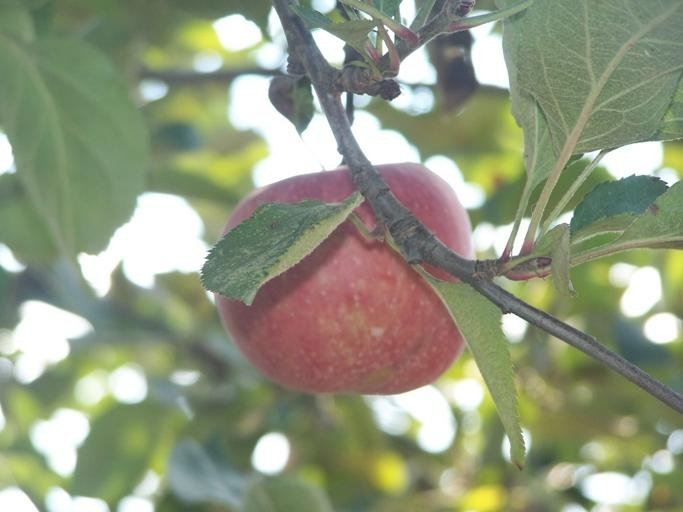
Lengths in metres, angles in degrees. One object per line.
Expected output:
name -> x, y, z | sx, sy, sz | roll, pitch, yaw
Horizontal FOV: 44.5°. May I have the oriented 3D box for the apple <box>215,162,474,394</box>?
apple -> 0.022, 0.085, 1.254 | 0.318, 0.288, 0.338 | 3, -14, -43
